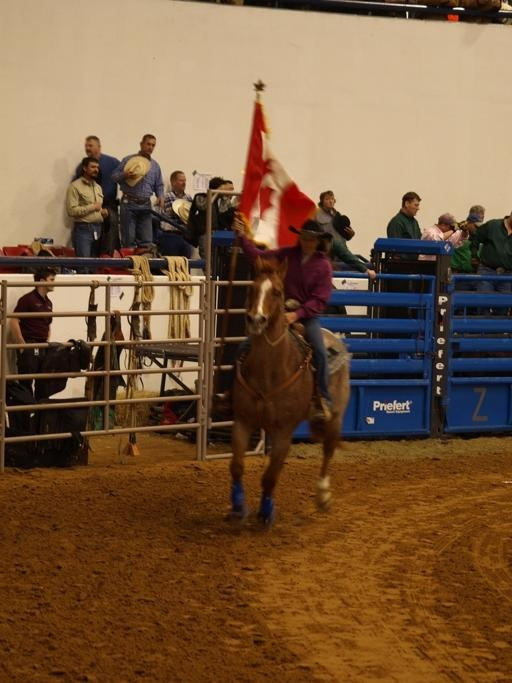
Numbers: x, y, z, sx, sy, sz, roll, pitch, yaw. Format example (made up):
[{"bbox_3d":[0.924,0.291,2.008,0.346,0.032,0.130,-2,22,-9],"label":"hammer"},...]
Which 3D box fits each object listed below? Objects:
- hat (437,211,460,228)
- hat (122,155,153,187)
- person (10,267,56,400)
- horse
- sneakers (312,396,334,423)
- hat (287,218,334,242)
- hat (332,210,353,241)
[{"bbox_3d":[3.027,-1.956,12.583,0.233,0.246,0.582,4,2,17],"label":"hat"},{"bbox_3d":[-1.904,-2.767,12.742,0.338,0.575,0.613,5,3,33],"label":"hat"},{"bbox_3d":[-2.252,-0.124,7.915,0.414,1.286,1.443,3,2,-17],"label":"person"},{"bbox_3d":[0.251,0.437,6.042,0.657,1.791,2.662,5,-5,17],"label":"horse"},{"bbox_3d":[0.483,0.487,5.768,0.144,0.177,0.188,2,-19,5],"label":"sneakers"},{"bbox_3d":[0.393,-0.803,5.576,0.234,0.087,0.213,19,-6,14],"label":"hat"},{"bbox_3d":[1.257,-1.612,10.814,0.387,0.138,0.293,52,-20,-28],"label":"hat"}]
